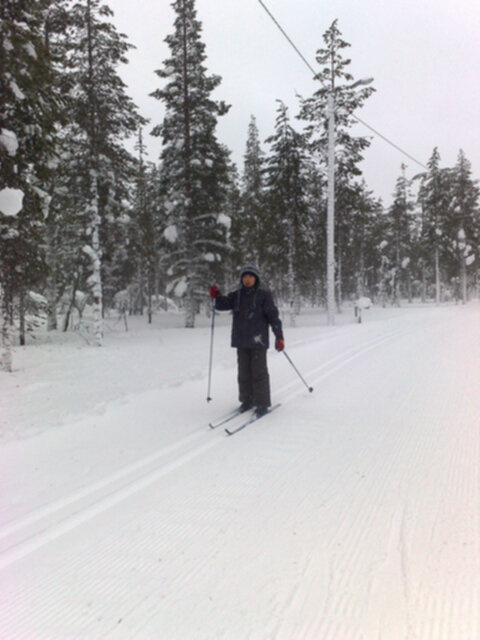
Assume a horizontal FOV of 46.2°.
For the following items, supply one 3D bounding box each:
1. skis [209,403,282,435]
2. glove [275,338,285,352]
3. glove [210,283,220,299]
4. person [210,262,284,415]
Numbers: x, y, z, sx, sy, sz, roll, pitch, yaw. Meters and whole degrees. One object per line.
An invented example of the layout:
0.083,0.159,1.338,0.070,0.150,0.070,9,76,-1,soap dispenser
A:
0.084,1.008,5.653,0.255,0.081,0.542,1,11,38,skis
0.428,0.264,6.069,0.074,0.144,0.038,-1,-3,24,glove
-0.285,-0.316,6.254,0.084,0.154,0.130,2,2,13,glove
0.094,0.192,6.168,0.755,1.543,0.570,5,11,43,person
